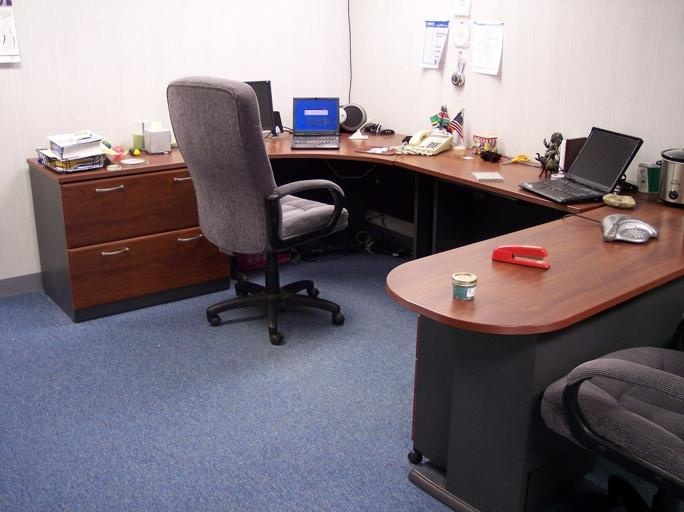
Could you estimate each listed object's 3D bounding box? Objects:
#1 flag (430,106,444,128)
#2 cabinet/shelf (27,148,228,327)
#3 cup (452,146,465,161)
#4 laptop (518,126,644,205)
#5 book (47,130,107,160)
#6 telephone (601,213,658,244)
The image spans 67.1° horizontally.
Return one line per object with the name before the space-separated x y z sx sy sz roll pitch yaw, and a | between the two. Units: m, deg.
flag | 0.648 -0.935 3.477 0.053 0.140 0.102 2 -15 14
cabinet/shelf | -1.355 -0.130 3.250 0.646 0.812 1.043 10 16 32
cup | 0.767 -0.655 3.291 0.097 0.079 0.095 -1 20 0
laptop | 1.179 -0.424 2.523 0.471 0.298 0.432 -7 25 -18
book | -1.481 -0.625 2.866 0.262 0.104 0.254 -16 29 -27
telephone | 1.127 -0.104 2.027 0.139 0.046 0.137 10 26 20
